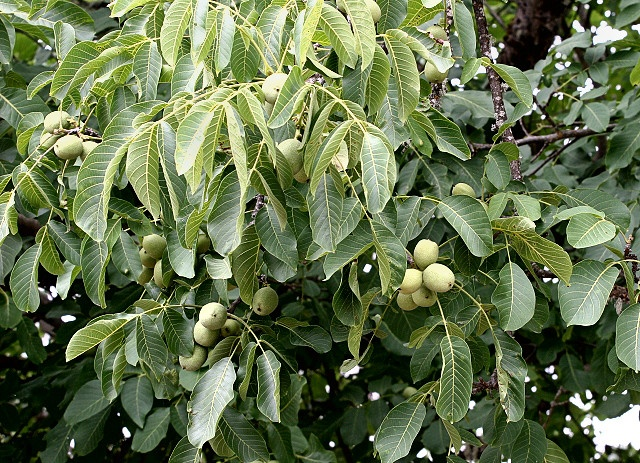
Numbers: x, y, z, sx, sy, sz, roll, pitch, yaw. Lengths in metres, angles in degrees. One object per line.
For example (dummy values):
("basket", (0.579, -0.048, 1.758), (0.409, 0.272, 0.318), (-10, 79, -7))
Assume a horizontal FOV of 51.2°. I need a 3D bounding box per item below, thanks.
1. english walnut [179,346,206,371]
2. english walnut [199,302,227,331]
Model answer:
("english walnut", (-0.664, 0.656, 3.460), (0.160, 0.128, 0.136), (-9, -7, 37))
("english walnut", (-0.527, 0.423, 3.320), (0.110, 0.141, 0.149), (27, -17, -2))
